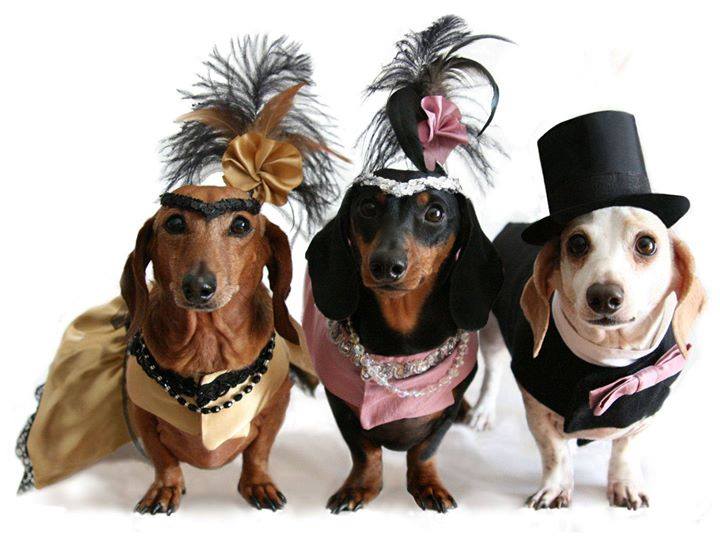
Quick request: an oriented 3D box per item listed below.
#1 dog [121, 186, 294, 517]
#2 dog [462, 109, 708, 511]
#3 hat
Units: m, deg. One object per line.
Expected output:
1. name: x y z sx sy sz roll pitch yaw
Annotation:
1. dog: -0.777 0.436 4.403 0.937 1.754 0.684 0 4 -17
2. dog: 1.331 0.171 5.111 1.069 2.260 2.545 0 8 2
3. hat: 1.215 -0.532 4.344 0.720 0.461 0.732 -9 -15 -4
